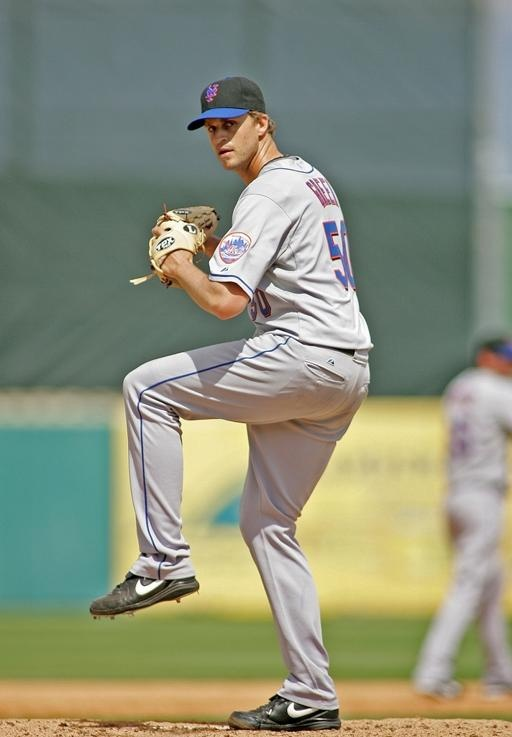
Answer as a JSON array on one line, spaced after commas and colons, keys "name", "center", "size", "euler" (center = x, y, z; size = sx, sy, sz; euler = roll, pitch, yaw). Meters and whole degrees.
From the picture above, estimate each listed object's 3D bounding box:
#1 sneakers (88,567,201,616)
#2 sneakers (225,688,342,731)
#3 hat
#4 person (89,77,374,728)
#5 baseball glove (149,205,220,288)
[{"name": "sneakers", "center": [-0.329, 0.655, 3.226], "size": [0.345, 0.164, 0.118], "euler": [-9, -9, -7]}, {"name": "sneakers", "center": [0.087, 1.066, 3.384], "size": [0.365, 0.133, 0.120], "euler": [4, -11, -3]}, {"name": "hat", "center": [-0.086, -0.808, 3.324], "size": [0.203, 0.106, 0.138], "euler": [-17, 12, -36]}, {"name": "person", "center": [-0.043, 0.128, 3.278], "size": [0.802, 2.012, 0.410], "euler": [-4, 4, -5]}, {"name": "baseball glove", "center": [-0.199, -0.356, 3.219], "size": [0.180, 0.136, 0.337], "euler": [-12, 30, -13]}]
